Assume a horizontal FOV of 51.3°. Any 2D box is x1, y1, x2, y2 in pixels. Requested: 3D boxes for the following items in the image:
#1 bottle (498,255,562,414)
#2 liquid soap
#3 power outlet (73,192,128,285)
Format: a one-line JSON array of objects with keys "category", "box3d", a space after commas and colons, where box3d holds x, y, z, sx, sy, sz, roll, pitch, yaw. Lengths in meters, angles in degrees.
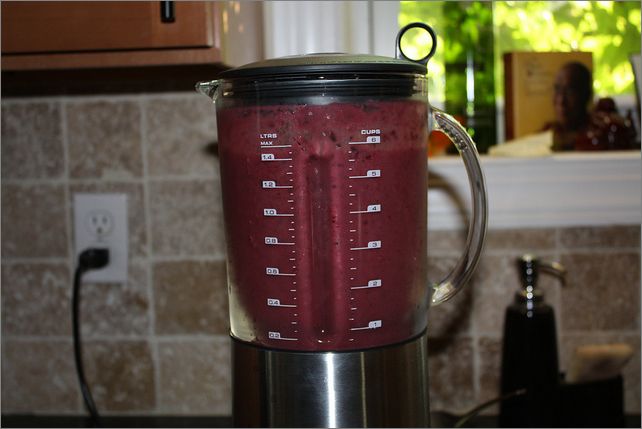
[{"category": "bottle", "box3d": [0.437, 0.236, 1.337, 0.105, 0.295, 0.094, -4, -5, 32]}, {"category": "liquid soap", "box3d": [0.440, 0.244, 1.348, 0.119, 0.328, 0.105, -4, 10, 11]}, {"category": "power outlet", "box3d": [-0.443, 0.047, 1.350, 0.105, 0.176, 0.034, -1, 7, 11]}]
